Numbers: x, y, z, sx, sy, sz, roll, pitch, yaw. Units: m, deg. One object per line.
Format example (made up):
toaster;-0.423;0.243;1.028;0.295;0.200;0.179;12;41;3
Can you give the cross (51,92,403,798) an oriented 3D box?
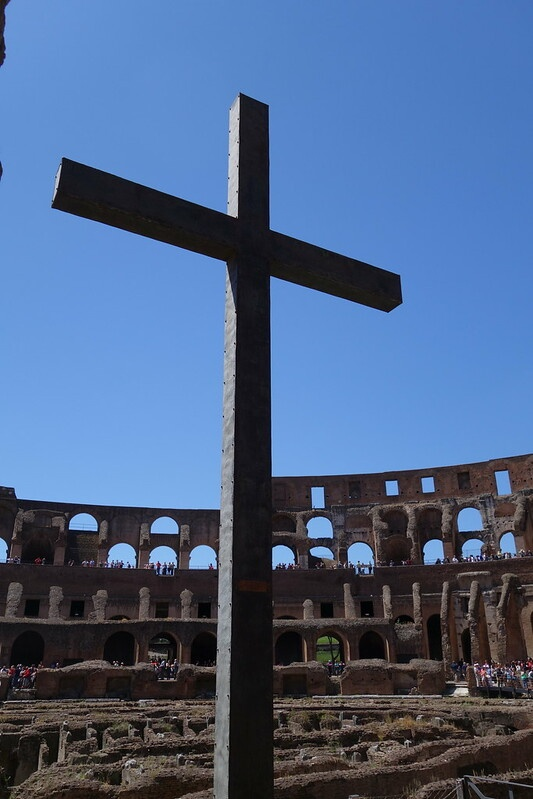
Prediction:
cross;-0.142;-0.088;3.033;1.826;3.297;0.387;19;-32;-33

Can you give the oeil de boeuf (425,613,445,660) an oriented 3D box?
oeil de boeuf;8.745;12.400;34.331;0.667;1.976;2.168;-6;-29;12
